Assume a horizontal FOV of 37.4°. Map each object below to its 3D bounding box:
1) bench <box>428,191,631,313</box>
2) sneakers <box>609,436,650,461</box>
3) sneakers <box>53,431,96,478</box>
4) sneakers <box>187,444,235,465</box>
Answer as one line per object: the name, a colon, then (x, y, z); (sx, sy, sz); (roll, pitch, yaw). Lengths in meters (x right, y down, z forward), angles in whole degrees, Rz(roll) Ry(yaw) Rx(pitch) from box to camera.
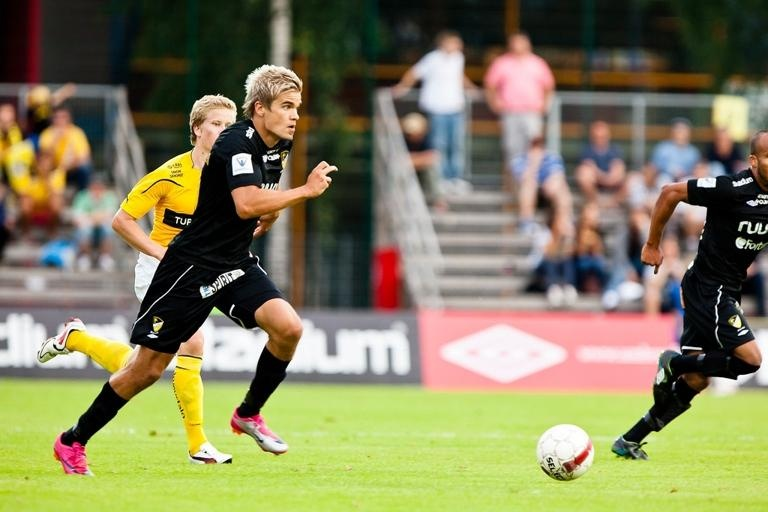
bench: (1.859, -0.135, 19.602); (3.372, 2.028, 0.740); (0, -5, 5)
sneakers: (2.644, 2.069, 12.145); (0.502, 0.217, 0.174); (16, 23, -6)
sneakers: (-3.111, 1.980, 11.301); (0.208, 0.558, 0.253); (-38, -9, -43)
sneakers: (-1.802, 2.028, 11.692); (0.412, 0.175, 0.197); (1, 2, 4)
